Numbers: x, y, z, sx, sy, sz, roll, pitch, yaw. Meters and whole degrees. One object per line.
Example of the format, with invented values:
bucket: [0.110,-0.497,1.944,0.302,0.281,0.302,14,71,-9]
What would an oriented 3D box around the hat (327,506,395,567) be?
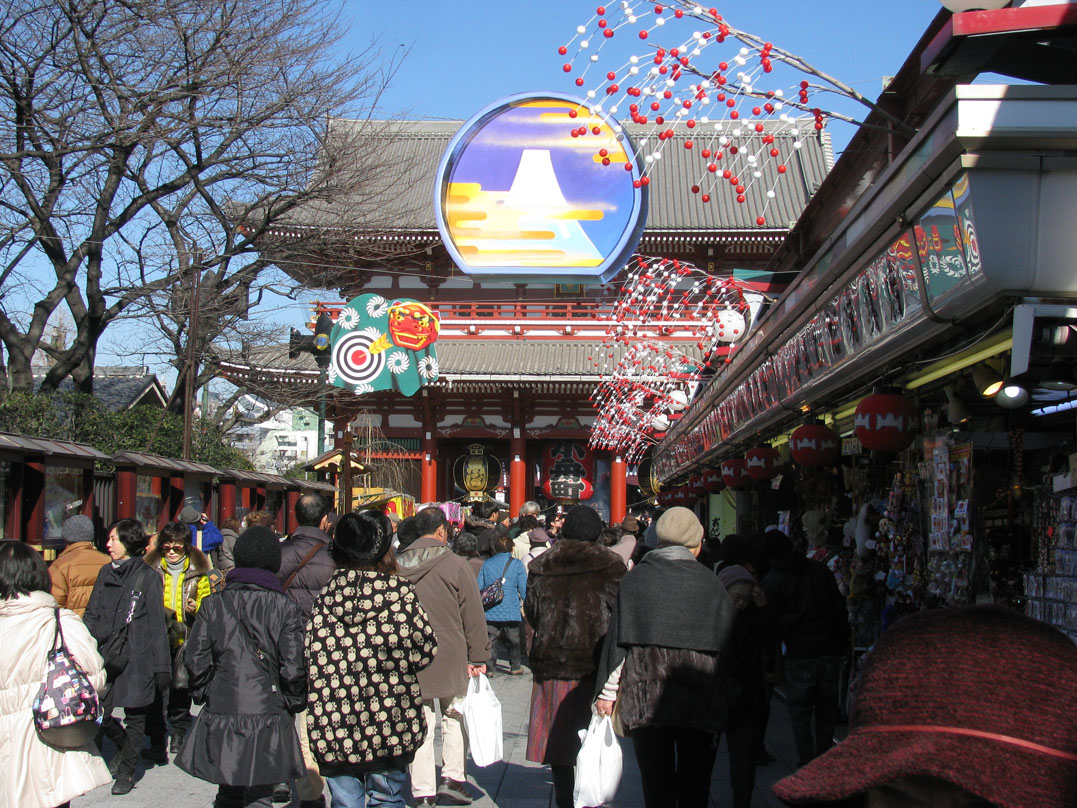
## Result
hat: [-0.875,0.673,5.241,0.290,0.305,0.206,5,-12,-9]

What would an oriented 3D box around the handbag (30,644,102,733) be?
handbag: [-2.205,1.327,4.812,0.251,0.360,0.359,6,-10,-34]

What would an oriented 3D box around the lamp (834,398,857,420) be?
lamp: [2.234,0.039,7.734,0.072,0.067,0.317,-16,13,-19]

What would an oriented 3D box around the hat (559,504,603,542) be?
hat: [0.249,0.700,6.162,0.225,0.234,0.305,2,-12,1]

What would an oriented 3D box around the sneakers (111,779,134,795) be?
sneakers: [-2.661,2.461,6.799,0.136,0.092,0.205,7,-13,-17]

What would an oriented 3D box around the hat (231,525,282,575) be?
hat: [-1.454,0.757,5.484,0.238,0.254,0.186,6,-12,-15]

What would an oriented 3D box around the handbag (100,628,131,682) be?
handbag: [-2.712,1.620,6.815,0.166,0.354,0.239,4,-12,-7]

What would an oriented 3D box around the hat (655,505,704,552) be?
hat: [0.761,0.671,5.705,0.233,0.247,0.293,1,-12,10]

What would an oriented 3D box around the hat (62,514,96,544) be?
hat: [-3.214,0.889,7.411,0.180,0.131,0.258,0,11,-24]

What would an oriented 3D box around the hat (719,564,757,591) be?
hat: [1.293,1.139,6.905,0.219,0.180,0.371,1,-12,10]

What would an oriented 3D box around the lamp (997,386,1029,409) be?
lamp: [2.385,-0.019,5.344,0.120,0.134,0.122,11,-52,16]

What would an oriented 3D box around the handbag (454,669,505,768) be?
handbag: [-0.336,1.893,6.399,0.238,0.541,0.181,3,-12,-4]
